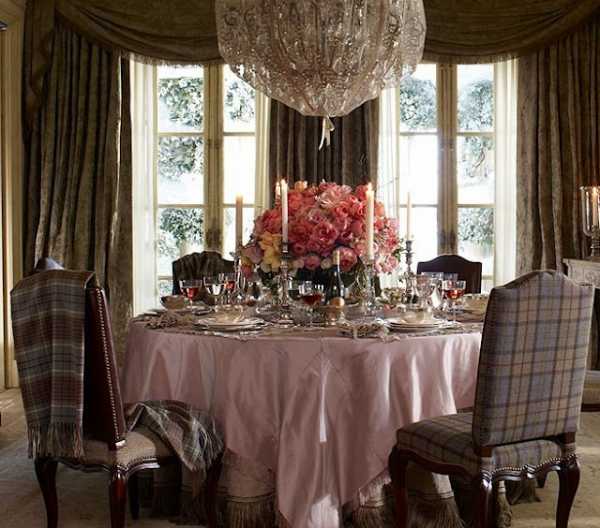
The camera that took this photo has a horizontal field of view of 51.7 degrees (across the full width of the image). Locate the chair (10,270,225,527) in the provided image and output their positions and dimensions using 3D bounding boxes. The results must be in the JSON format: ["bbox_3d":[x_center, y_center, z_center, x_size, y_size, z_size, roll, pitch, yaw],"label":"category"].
[{"bbox_3d":[-0.879,0.456,2.710,0.612,1.296,0.783,1,2,41],"label":"chair"}]

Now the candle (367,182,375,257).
[{"bbox_3d":[0.302,-0.180,2.664,0.033,0.330,0.126,0,4,8],"label":"candle"}]

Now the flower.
[{"bbox_3d":[0.141,-0.052,3.043,0.631,0.618,0.736,-3,-9,11],"label":"flower"}]
